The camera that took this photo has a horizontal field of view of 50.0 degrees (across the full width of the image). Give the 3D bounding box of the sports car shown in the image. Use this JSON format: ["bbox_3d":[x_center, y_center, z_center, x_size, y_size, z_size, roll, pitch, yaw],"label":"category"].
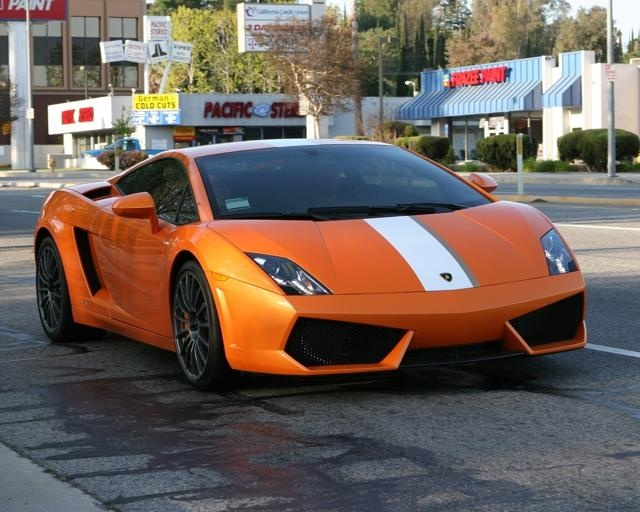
[{"bbox_3d":[-0.308,-0.296,5.375,2.478,1.015,4.081,-11,18,-31],"label":"sports car"}]
